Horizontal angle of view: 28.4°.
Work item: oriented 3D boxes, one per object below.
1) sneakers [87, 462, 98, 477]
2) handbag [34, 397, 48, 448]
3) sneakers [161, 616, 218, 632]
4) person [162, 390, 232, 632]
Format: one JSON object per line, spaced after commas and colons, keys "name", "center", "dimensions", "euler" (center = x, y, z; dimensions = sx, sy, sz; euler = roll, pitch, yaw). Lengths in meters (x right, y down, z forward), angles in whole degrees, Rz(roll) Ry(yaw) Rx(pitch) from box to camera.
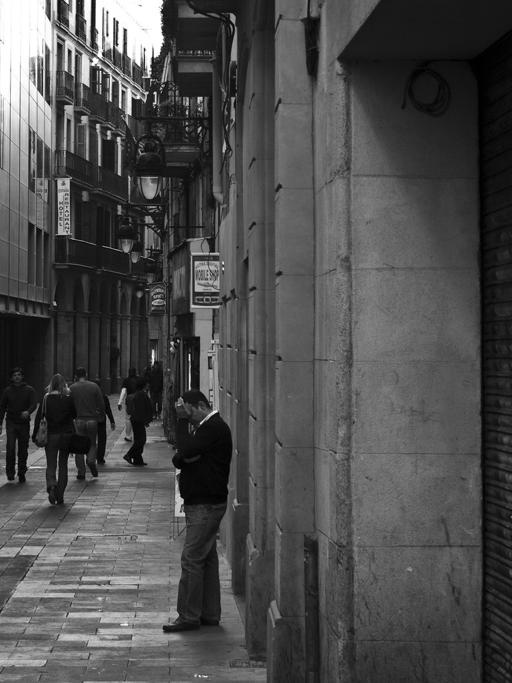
{"name": "sneakers", "center": [-3.036, 2.361, 18.779], "dimensions": [0.077, 0.342, 0.110], "euler": [-6, 4, 4]}
{"name": "handbag", "center": [-3.156, 1.161, 14.844], "dimensions": [0.196, 0.752, 0.561], "euler": [0, -2, -14]}
{"name": "sneakers", "center": [-0.501, 2.185, 7.881], "dimensions": [0.128, 0.096, 0.559], "euler": [-2, -4, 44]}
{"name": "person", "center": [-0.448, 1.311, 7.927], "dimensions": [0.506, 1.844, 0.449], "euler": [0, -2, -7]}
